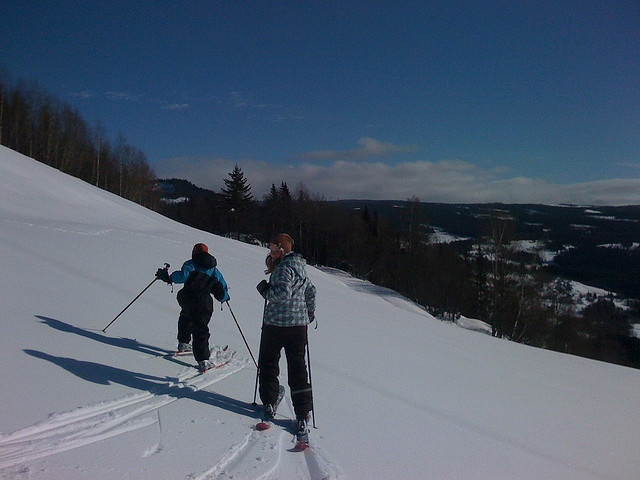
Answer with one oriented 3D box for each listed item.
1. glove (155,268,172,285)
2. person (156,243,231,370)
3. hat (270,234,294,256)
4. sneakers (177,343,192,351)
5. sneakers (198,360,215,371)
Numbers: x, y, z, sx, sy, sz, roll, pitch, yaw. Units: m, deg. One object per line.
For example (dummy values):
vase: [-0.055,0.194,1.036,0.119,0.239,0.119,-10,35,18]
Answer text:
glove: [-3.172,0.692,9.949,0.190,0.314,0.303,-29,46,-10]
person: [-2.354,1.132,9.222,1.109,2.217,0.677,10,11,13]
hat: [-0.624,0.032,8.336,0.284,0.396,0.387,-1,-1,13]
sneakers: [-2.641,2.010,9.700,0.117,0.172,0.360,-1,-2,36]
sneakers: [-2.111,2.234,9.130,0.125,0.174,0.364,0,1,11]
